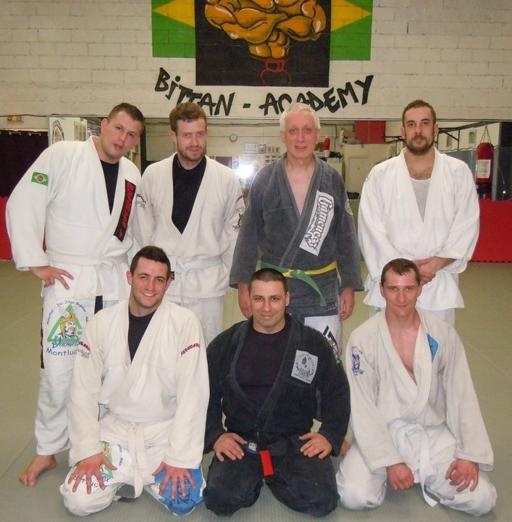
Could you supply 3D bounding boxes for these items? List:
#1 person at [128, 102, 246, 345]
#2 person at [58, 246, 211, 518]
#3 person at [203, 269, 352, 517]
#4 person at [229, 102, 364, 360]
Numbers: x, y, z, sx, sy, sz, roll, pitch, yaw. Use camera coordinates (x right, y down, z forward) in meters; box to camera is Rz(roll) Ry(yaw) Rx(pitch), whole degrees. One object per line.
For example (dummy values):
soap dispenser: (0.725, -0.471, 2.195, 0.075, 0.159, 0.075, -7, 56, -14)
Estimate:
person: (-0.423, 0.052, 3.656, 0.575, 1.992, 0.611, 2, 24, -4)
person: (-0.595, 0.566, 2.939, 0.714, 1.211, 0.568, -1, 10, -6)
person: (0.124, 0.713, 3.046, 0.895, 1.534, 0.754, -1, 4, -3)
person: (0.251, 0.043, 3.560, 0.740, 1.957, 0.409, 0, 27, 6)
